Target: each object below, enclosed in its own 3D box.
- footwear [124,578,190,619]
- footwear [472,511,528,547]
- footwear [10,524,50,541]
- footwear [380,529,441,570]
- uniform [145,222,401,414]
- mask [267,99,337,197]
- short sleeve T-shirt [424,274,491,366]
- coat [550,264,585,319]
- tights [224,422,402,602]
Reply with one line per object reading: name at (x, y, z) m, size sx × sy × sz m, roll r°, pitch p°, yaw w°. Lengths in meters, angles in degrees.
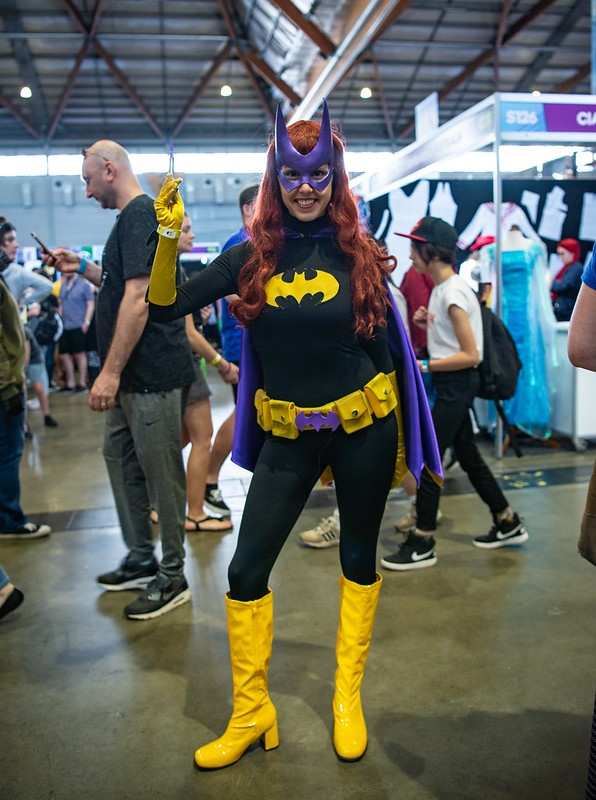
footwear at (-0.563, 0.772, 2.709) m, size 0.100 × 0.127 × 0.268 m, roll -1°, pitch 8°, yaw 44°
footwear at (1.009, 0.648, 3.394) m, size 0.318 × 0.201 × 0.123 m, roll -2°, pitch 5°, yaw 4°
footwear at (-1.463, 0.716, 3.732) m, size 0.218 × 0.096 × 0.080 m, roll -3°, pitch 8°, yaw -15°
footwear at (0.490, 0.693, 3.135) m, size 0.303 × 0.188 × 0.123 m, roll -2°, pitch -1°, yaw -6°
uniform at (-0.053, -0.208, 1.672) m, size 0.606 × 0.449 × 0.163 m, roll -3°, pitch 6°, yaw -7°
mask at (0.017, -0.588, 1.591) m, size 0.131 × 0.188 × 0.101 m, roll -2°, pitch 6°, yaw 0°
short sleeve T-shirt at (0.767, -0.365, 3.342) m, size 0.267 × 0.464 × 0.477 m, roll -3°, pitch -1°, yaw -7°
coat at (2.386, -1.021, 6.119) m, size 0.303 × 0.457 × 0.383 m, roll 2°, pitch 15°, yaw -6°
tights at (0.031, 0.297, 1.804) m, size 0.411 × 0.722 × 0.240 m, roll 3°, pitch 16°, yaw 2°
